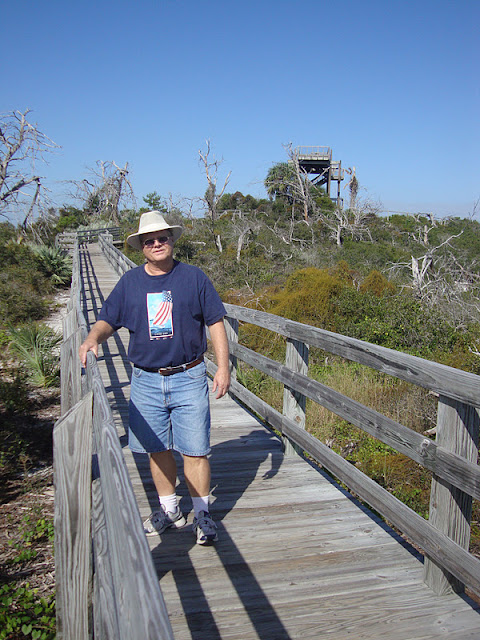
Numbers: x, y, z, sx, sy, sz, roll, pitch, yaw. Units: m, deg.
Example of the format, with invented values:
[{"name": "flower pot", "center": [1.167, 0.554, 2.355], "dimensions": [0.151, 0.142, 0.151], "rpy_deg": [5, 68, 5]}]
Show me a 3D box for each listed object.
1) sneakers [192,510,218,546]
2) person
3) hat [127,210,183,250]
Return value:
[{"name": "sneakers", "center": [-0.175, 1.064, 2.440], "dimensions": [0.094, 0.088, 0.193], "rpy_deg": [0, -3, -13]}, {"name": "person", "center": [-0.412, 0.286, 2.448], "dimensions": [0.717, 1.710, 0.417], "rpy_deg": [1, 4, -12]}, {"name": "hat", "center": [-0.469, -0.464, 2.481], "dimensions": [0.213, 0.106, 0.246], "rpy_deg": [-14, -7, -10]}]
